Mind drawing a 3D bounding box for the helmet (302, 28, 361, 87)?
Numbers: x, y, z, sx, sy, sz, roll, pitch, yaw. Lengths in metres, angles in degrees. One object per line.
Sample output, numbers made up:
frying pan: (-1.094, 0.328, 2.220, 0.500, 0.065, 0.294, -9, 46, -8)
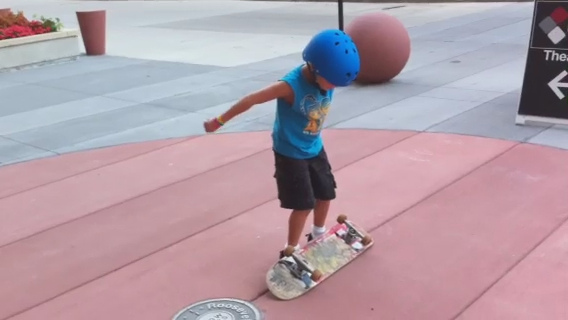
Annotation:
helmet: (0.376, -1.197, 4.493, 0.451, 0.476, 0.614, -43, 33, -7)
